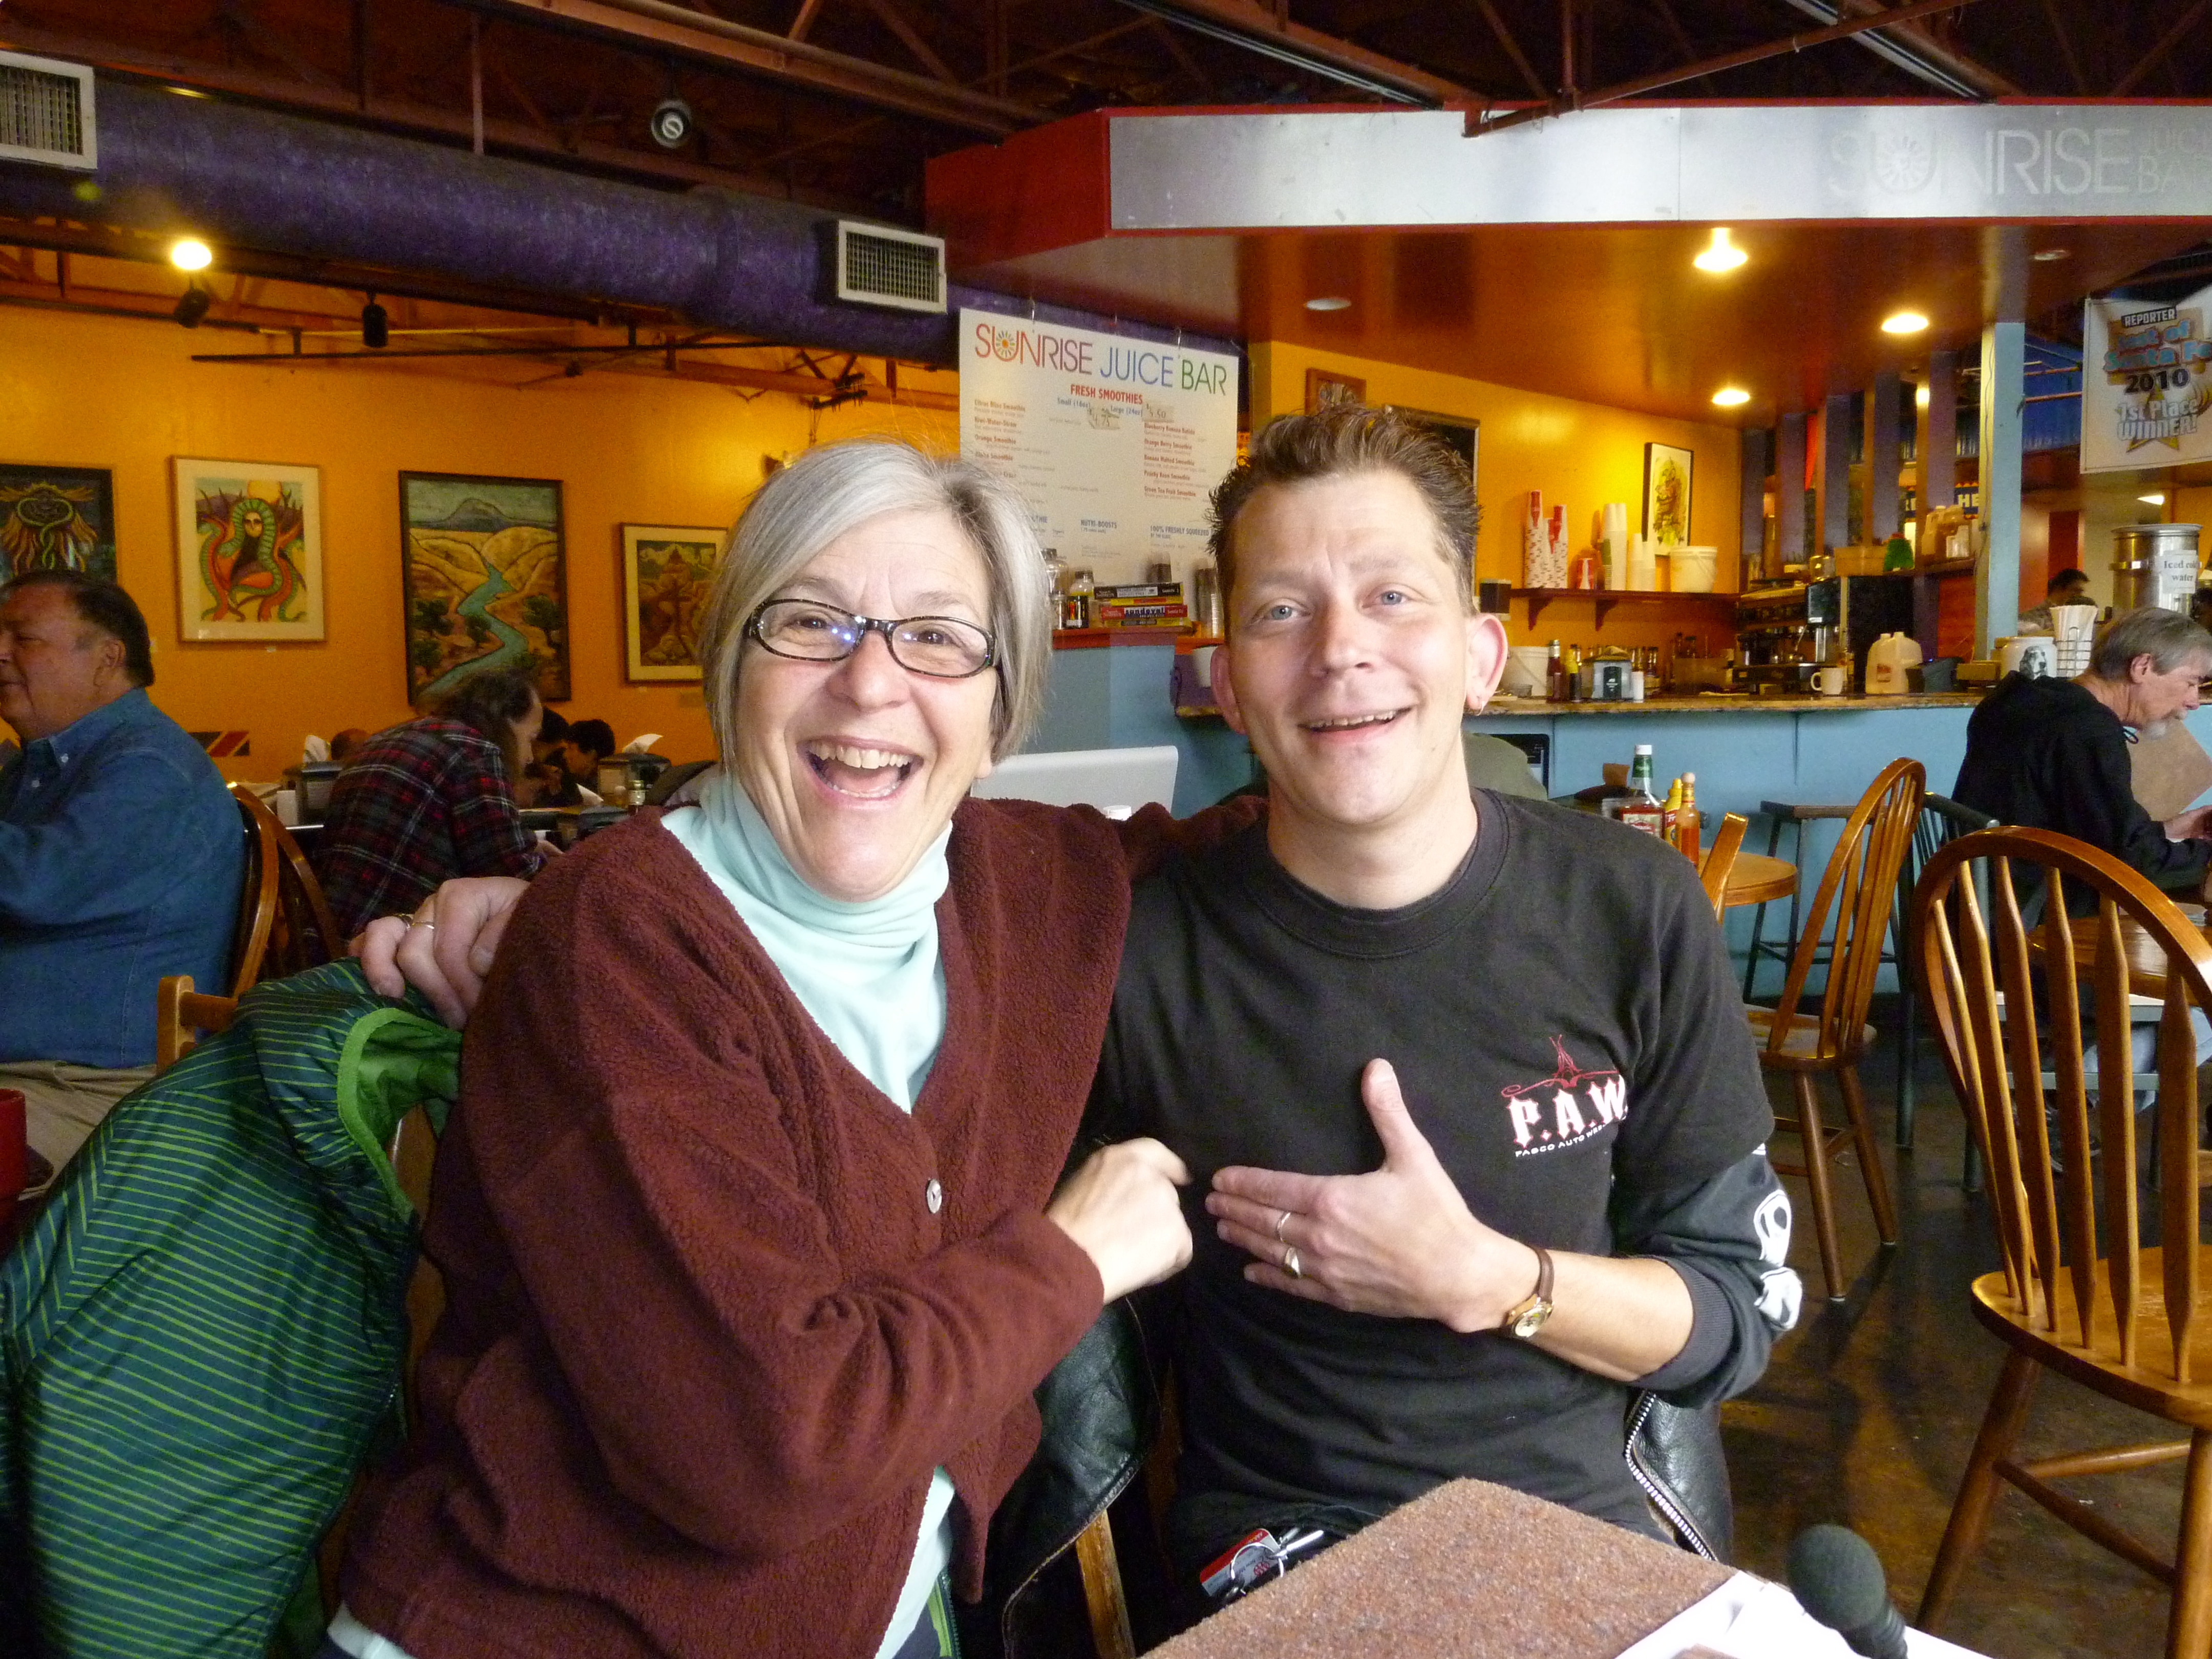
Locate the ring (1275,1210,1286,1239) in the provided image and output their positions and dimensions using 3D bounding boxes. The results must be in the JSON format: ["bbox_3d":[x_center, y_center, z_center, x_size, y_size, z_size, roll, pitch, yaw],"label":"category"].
[{"bbox_3d":[0.187,0.414,1.768,0.007,0.019,0.016,5,-4,-5],"label":"ring"}]

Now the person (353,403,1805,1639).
[{"bbox_3d":[0.247,0.283,1.866,0.953,1.454,0.843,2,5,19],"label":"person"}]

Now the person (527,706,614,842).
[{"bbox_3d":[-2.479,-0.258,7.682,0.241,0.692,0.514,11,-6,-35],"label":"person"}]

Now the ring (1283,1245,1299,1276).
[{"bbox_3d":[0.198,0.456,1.774,0.019,0.041,0.016,0,9,13],"label":"ring"}]
